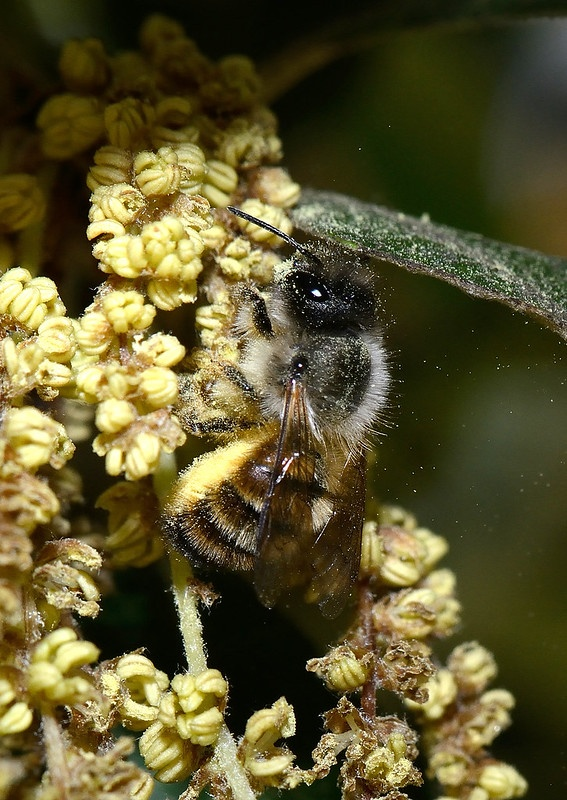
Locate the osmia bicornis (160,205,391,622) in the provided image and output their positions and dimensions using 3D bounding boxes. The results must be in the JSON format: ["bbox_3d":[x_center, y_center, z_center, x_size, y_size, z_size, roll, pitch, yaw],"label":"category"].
[{"bbox_3d":[0.012,0.019,1.394,0.174,0.428,0.503,-1,78,41],"label":"osmia bicornis"}]
